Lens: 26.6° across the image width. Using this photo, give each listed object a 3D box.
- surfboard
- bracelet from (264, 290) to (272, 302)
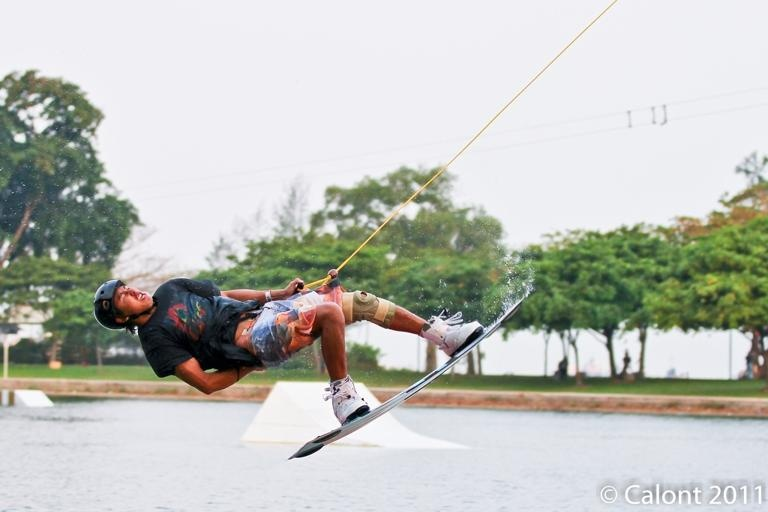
[{"bbox_3d":[0.649,2.912,39.057,7.288,0.584,0.822,-35,-18,-14],"label":"surfboard"},{"bbox_3d":[-2.361,0.808,33.038,0.151,0.196,0.162,5,13,-2],"label":"bracelet"}]
